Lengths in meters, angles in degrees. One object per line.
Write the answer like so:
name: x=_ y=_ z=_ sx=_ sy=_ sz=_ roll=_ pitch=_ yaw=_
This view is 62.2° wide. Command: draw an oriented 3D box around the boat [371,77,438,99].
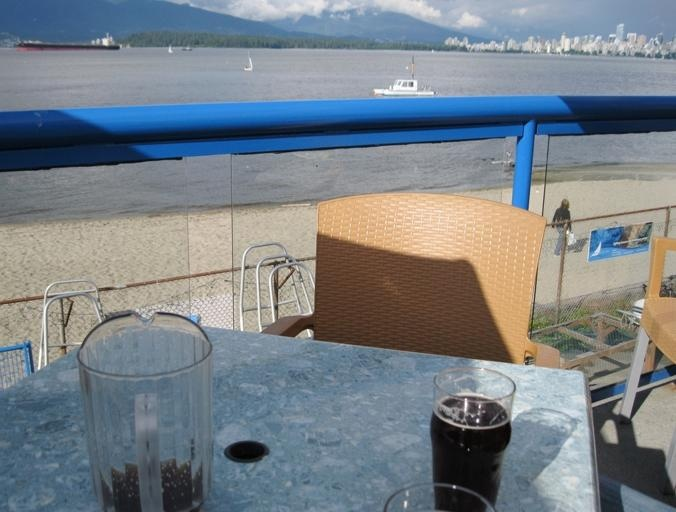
boat: x=4.990 y=-13.338 z=44.367 sx=4.965 sy=1.146 sz=3.834 roll=-4 pitch=17 yaw=-13

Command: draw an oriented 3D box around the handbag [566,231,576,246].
handbag: x=1.839 y=-0.140 z=4.448 sx=0.043 sy=0.147 sz=0.105 roll=-1 pitch=4 yaw=39

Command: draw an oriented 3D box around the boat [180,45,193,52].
boat: x=-26.252 y=-36.324 z=98.350 sx=0.927 sy=1.010 sz=3.026 roll=5 pitch=17 yaw=17

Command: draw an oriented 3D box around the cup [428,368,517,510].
cup: x=0.143 y=0.220 z=0.623 sx=0.091 sy=0.132 sz=0.176 roll=5 pitch=17 yaw=16
